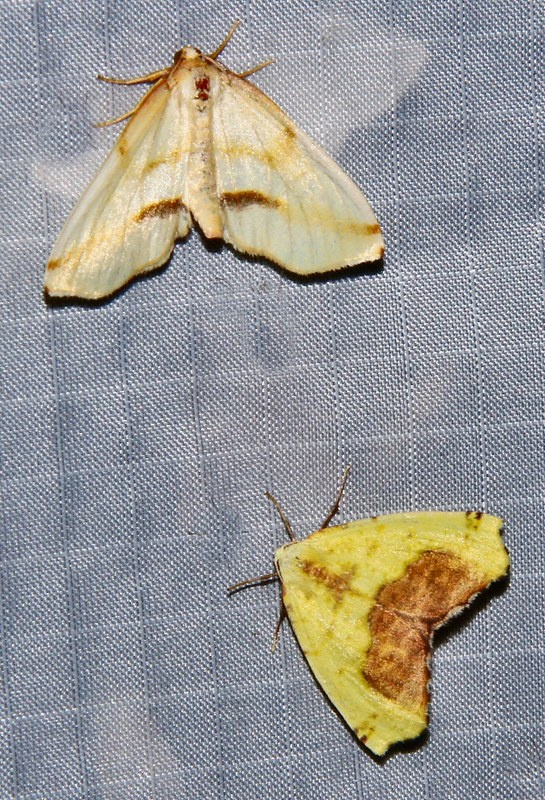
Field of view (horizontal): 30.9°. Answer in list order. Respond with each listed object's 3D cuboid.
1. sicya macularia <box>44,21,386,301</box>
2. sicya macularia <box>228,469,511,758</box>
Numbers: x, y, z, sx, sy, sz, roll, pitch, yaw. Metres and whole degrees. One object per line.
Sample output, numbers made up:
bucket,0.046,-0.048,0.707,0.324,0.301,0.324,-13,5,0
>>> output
sicya macularia,-0.131,-0.459,1.907,0.638,0.183,0.446,-6,71,-4
sicya macularia,0.276,0.414,1.935,0.452,0.170,0.426,-24,73,-9
